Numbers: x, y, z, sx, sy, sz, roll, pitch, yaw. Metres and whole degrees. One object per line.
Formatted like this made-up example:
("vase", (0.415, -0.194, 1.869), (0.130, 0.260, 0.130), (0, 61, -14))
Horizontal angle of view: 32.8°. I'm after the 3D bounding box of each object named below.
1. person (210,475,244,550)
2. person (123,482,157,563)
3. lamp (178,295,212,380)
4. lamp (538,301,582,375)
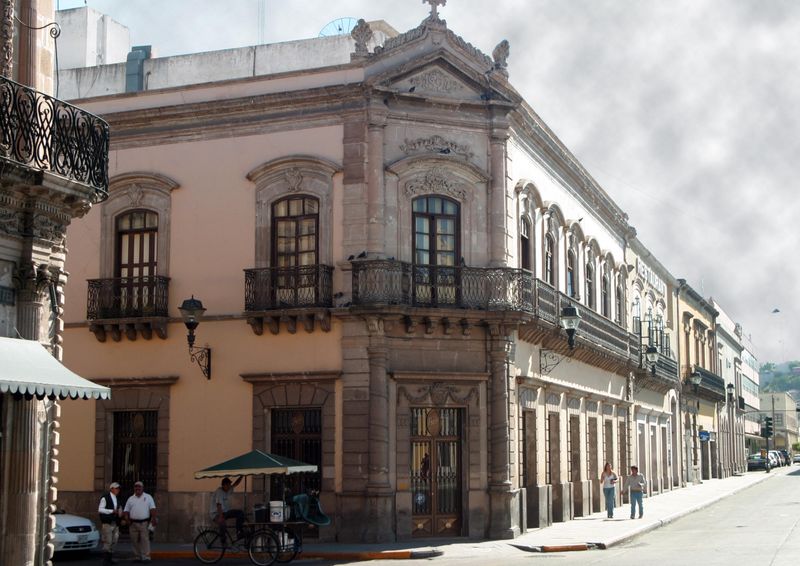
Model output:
("person", (-4.828, 6.258, 38.081), (0.880, 1.793, 0.939), (-2, -9, -7))
("person", (-7.269, 6.557, 37.430), (0.723, 2.193, 0.821), (-2, -4, 33))
("lamp", (-6.178, 1.572, 40.830), (0.863, 2.359, 1.626), (-1, -17, -3))
("lamp", (5.292, 1.823, 43.329), (0.805, 2.308, 1.280), (0, 0, -11))
